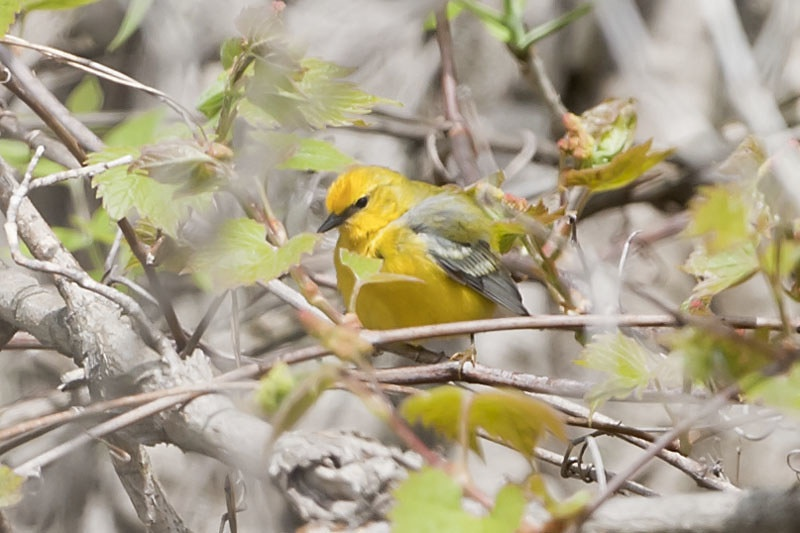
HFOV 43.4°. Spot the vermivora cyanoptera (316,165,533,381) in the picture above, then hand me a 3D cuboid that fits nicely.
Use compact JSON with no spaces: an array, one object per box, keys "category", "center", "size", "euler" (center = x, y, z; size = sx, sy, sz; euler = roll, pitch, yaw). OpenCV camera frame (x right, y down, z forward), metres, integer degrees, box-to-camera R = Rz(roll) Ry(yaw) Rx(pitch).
[{"category":"vermivora cyanoptera","center":[0.070,-0.021,1.829],"size":[0.301,0.360,0.506],"euler":[-6,8,39]}]
